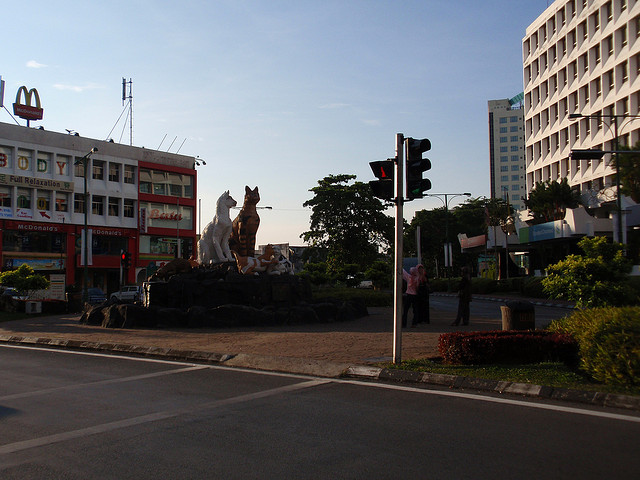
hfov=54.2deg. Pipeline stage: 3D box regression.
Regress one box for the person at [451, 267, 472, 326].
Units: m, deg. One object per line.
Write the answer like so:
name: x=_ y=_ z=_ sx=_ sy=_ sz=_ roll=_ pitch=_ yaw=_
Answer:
person: x=4.435 y=1.790 z=19.507 sx=0.536 sy=1.856 sz=1.257 roll=-1 pitch=1 yaw=12

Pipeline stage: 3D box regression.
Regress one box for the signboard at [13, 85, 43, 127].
signboard: x=-24.507 y=-11.145 z=52.271 sx=0.820 sy=3.147 sz=2.219 roll=-1 pitch=1 yaw=20

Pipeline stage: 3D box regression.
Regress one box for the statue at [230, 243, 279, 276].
statue: x=-2.371 y=0.803 z=24.863 sx=1.682 sy=1.316 sz=0.716 roll=-5 pitch=5 yaw=16

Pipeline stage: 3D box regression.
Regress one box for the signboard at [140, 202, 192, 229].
signboard: x=-15.215 y=-2.298 z=62.858 sx=0.859 sy=2.641 sz=5.950 roll=-1 pitch=1 yaw=30

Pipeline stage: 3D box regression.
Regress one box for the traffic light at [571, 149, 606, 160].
traffic light: x=8.786 y=-2.806 z=20.599 sx=0.549 sy=0.316 sz=1.383 roll=-1 pitch=1 yaw=44

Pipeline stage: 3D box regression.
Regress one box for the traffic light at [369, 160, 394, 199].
traffic light: x=1.206 y=-1.166 z=12.199 sx=0.452 sy=0.765 sz=0.433 roll=-1 pitch=1 yaw=15

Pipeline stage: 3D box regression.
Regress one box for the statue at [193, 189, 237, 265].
statue: x=-4.203 y=-0.479 z=25.468 sx=1.455 sy=2.889 sz=0.765 roll=-2 pitch=2 yaw=-7

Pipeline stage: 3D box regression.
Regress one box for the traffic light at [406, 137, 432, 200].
traffic light: x=1.894 y=-1.343 z=12.082 sx=0.476 sy=1.146 sz=0.306 roll=-1 pitch=2 yaw=10

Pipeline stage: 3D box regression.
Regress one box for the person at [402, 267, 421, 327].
person: x=2.796 y=1.849 z=19.210 sx=0.548 sy=1.877 sz=1.294 roll=-1 pitch=1 yaw=8
